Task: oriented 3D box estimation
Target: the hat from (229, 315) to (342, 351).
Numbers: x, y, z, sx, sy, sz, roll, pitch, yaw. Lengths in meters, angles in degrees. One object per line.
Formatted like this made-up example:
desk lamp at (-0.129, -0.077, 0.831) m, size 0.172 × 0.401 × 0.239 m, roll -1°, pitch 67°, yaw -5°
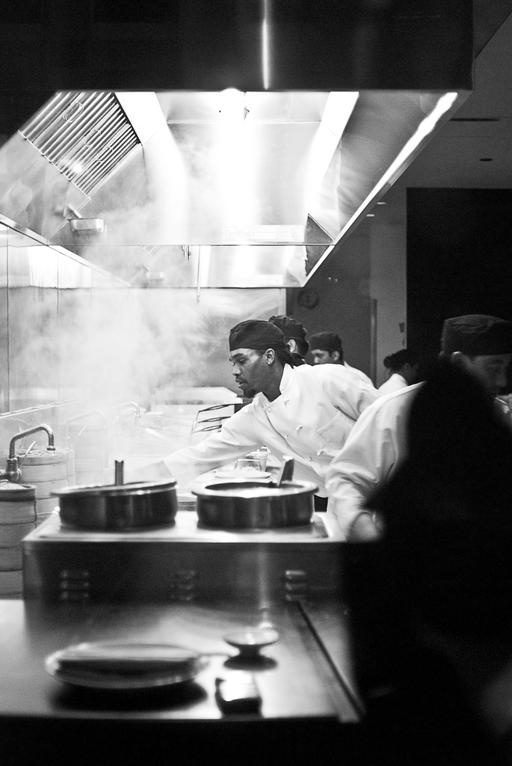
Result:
hat at (0.103, -0.191, 2.555) m, size 0.355 × 0.172 × 0.203 m, roll 0°, pitch -5°, yaw -9°

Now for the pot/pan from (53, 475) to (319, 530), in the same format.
pot/pan at (-0.145, 0.243, 1.328) m, size 0.388 × 0.065 × 0.191 m, roll -1°, pitch -4°, yaw -3°
